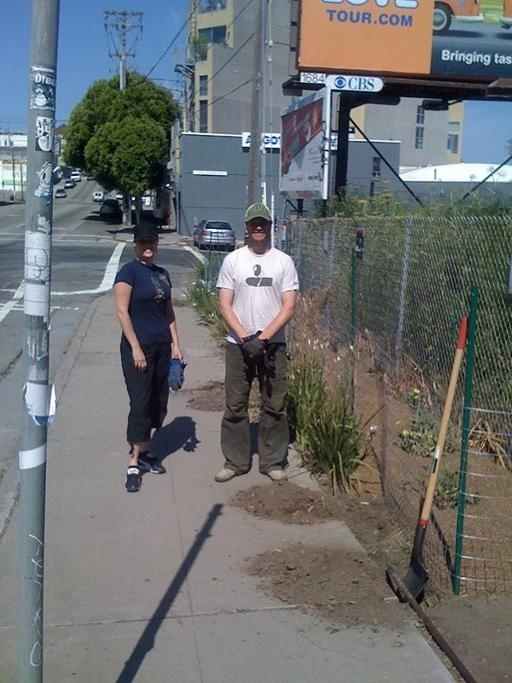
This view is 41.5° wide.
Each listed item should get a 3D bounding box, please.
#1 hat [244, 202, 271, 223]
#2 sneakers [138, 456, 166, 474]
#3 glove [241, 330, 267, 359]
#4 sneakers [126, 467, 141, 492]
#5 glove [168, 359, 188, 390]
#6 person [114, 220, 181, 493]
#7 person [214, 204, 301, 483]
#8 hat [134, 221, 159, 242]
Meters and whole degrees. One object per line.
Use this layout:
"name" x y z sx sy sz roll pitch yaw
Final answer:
"hat" 0.016 -0.900 4.711 0.138 0.111 0.194 0 -4 -1
"sneakers" -0.757 0.872 4.899 0.247 0.095 0.089 10 14 19
"glove" -0.017 0.038 4.436 0.161 0.161 0.049 -35 -24 20
"sneakers" -0.832 0.922 4.557 0.103 0.126 0.195 -1 10 -10
"glove" -0.563 0.232 4.840 0.157 0.209 0.087 4 -13 6
"person" -0.778 0.072 4.667 0.371 1.771 0.682 4 10 18
"person" 0.001 0.011 4.675 0.550 1.896 0.595 1 10 1
"hat" -0.754 -0.741 4.635 0.117 0.161 0.163 1 -3 -8
